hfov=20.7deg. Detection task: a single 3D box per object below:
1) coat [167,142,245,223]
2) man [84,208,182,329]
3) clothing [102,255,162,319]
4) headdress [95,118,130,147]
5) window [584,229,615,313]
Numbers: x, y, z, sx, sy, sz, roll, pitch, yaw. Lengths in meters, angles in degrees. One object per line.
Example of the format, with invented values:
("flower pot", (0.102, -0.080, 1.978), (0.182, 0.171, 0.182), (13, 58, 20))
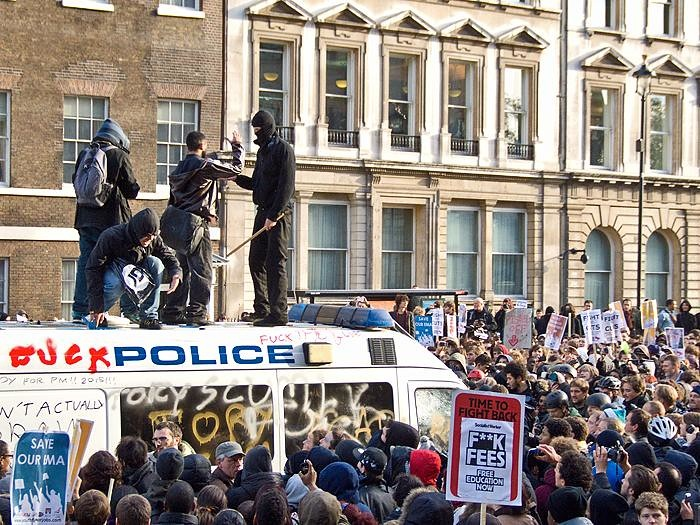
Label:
("coat", (-2.575, -1.510, 33.984), (1.257, 1.633, 0.897), (2, 15, 23))
("man", (-3.692, -0.073, 32.874), (1.619, 2.101, 1.386), (4, 18, -6))
("clothing", (-3.708, 0.340, 32.579), (0.989, 1.218, 1.080), (-1, 5, -1))
("headdress", (-4.159, -2.376, 34.176), (0.479, 0.430, 0.620), (6, -2, 22))
("window", (6.970, 0.131, 54.670), (1.023, 2.319, 0.218), (1, 1, -28))
